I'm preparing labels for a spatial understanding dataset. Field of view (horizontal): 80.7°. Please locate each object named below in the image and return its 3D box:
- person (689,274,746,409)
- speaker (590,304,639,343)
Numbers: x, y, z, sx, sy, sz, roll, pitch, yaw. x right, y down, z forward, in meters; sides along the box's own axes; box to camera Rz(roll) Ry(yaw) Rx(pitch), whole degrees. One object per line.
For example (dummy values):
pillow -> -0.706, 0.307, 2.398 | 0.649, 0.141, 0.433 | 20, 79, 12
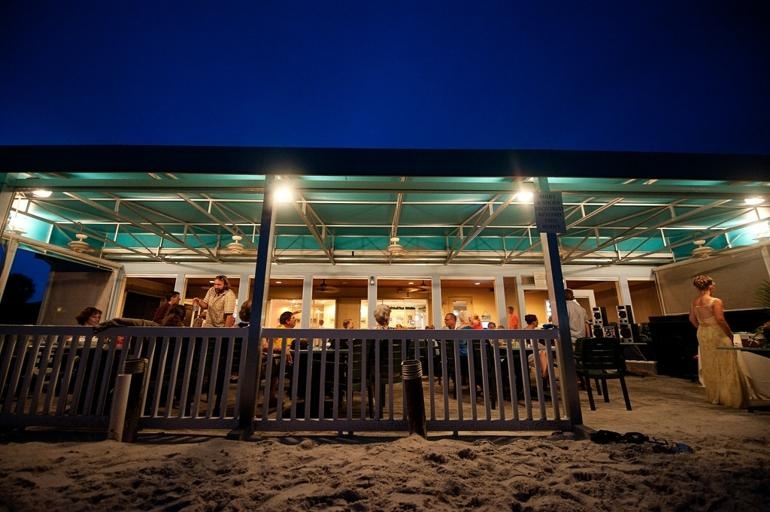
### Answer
person -> 5.206, 1.325, 7.067 | 0.677, 1.904, 1.092 | 3, 9, 19
speaker -> 6.068, 1.776, 11.994 | 0.491, 0.889, 1.165 | 24, -28, -28
